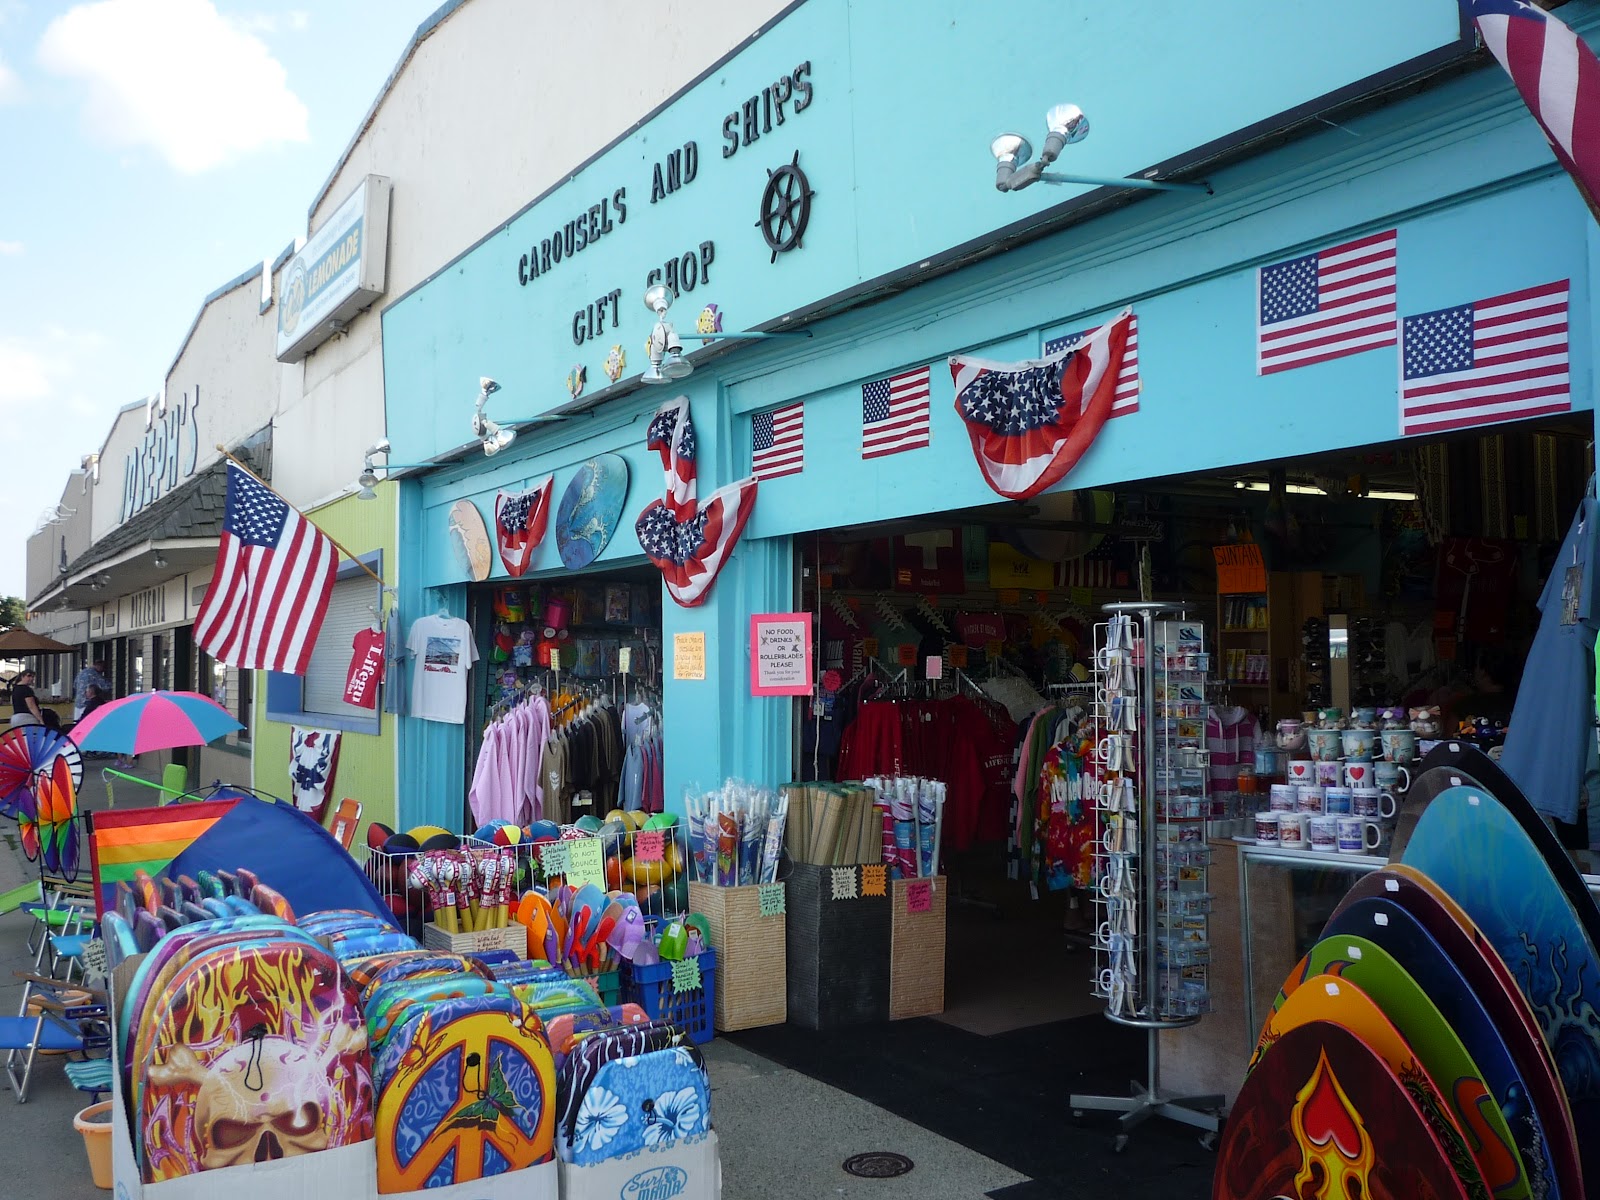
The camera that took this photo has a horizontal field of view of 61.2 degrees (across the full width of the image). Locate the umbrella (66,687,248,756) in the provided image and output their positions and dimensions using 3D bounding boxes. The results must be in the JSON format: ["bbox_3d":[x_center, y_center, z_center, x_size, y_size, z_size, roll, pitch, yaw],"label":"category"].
[{"bbox_3d":[-3.998,0.797,8.379,0.854,0.404,0.956,-2,2,-30],"label":"umbrella"}]

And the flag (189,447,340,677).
[{"bbox_3d":[-3.702,-0.219,9.376,0.869,1.462,0.363,-1,1,-21],"label":"flag"}]

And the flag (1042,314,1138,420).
[{"bbox_3d":[1.256,-0.987,5.801,0.045,0.511,0.428,3,-2,-35],"label":"flag"}]

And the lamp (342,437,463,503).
[{"bbox_3d":[-3.461,-1.091,11.414,0.816,0.397,0.572,-18,-4,16],"label":"lamp"}]

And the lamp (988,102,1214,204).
[{"bbox_3d":[1.094,-1.722,5.306,0.739,0.377,0.439,-1,17,-25],"label":"lamp"}]

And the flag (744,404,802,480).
[{"bbox_3d":[-0.131,-0.887,7.547,0.087,0.412,0.532,-1,2,-31],"label":"flag"}]

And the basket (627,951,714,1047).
[{"bbox_3d":[-0.628,1.993,6.639,0.467,0.434,0.320,-1,1,-11],"label":"basket"}]

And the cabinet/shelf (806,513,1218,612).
[{"bbox_3d":[1.538,-0.238,9.554,2.922,0.596,0.561,-1,2,-17],"label":"cabinet/shelf"}]

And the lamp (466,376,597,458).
[{"bbox_3d":[-1.850,-1.214,9.248,0.658,0.225,0.679,-29,32,-13],"label":"lamp"}]

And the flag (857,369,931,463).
[{"bbox_3d":[0.484,-0.924,6.765,0.020,0.443,0.440,-1,-1,-32],"label":"flag"}]

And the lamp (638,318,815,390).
[{"bbox_3d":[-0.499,-1.383,7.447,0.649,0.273,0.461,0,7,0],"label":"lamp"}]

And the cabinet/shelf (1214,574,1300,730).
[{"bbox_3d":[3.234,0.336,9.624,0.566,0.994,0.376,0,1,21],"label":"cabinet/shelf"}]
